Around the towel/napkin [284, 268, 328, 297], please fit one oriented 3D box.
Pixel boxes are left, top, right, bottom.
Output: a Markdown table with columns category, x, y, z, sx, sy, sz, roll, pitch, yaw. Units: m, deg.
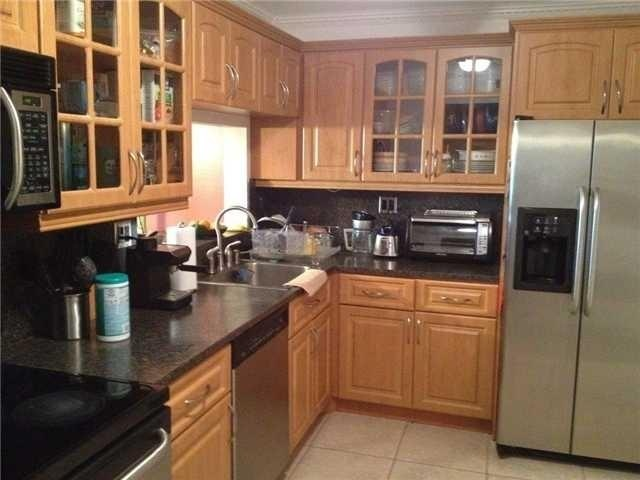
| category | x | y | z | sx | sy | sz | roll | pitch | yaw |
| --- | --- | --- | --- | --- | --- | --- | --- | --- | --- |
| towel/napkin | -0.067 | 0.225 | 2.901 | 0.128 | 0.055 | 0.230 | 0 | 12 | 25 |

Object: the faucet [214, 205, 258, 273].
| category | x | y | z | sx | sy | sz | roll | pitch | yaw |
| --- | --- | --- | --- | --- | --- | --- | --- | --- | --- |
| faucet | -0.498 | -0.017 | 3.114 | 0.268 | 0.384 | 0.285 | -5 | 22 | -10 |

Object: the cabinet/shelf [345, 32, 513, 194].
| category | x | y | z | sx | sy | sz | roll | pitch | yaw |
| --- | --- | --- | --- | --- | --- | --- | --- | --- | --- |
| cabinet/shelf | 0.754 | -0.866 | 3.398 | 1.162 | 1.081 | 0.410 | 1 | 2 | 16 |

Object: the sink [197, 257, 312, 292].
| category | x | y | z | sx | sy | sz | roll | pitch | yaw |
| --- | --- | --- | --- | --- | --- | --- | --- | --- | --- |
| sink | -0.333 | 0.210 | 3.208 | 0.330 | 0.128 | 0.268 | 3 | 10 | 26 |

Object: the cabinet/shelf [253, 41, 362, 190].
| category | x | y | z | sx | sy | sz | roll | pitch | yaw |
| --- | --- | --- | --- | --- | --- | --- | --- | --- | --- |
| cabinet/shelf | -0.096 | -0.880 | 3.681 | 0.758 | 0.878 | 0.259 | 0 | 26 | 1 |

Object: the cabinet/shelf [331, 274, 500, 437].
| category | x | y | z | sx | sy | sz | roll | pitch | yaw |
| --- | --- | --- | --- | --- | --- | --- | --- | --- | --- |
| cabinet/shelf | 0.643 | 0.706 | 3.261 | 1.006 | 0.841 | 0.395 | 1 | 2 | 17 |

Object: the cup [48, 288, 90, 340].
| category | x | y | z | sx | sy | sz | roll | pitch | yaw |
| --- | --- | --- | --- | --- | --- | --- | --- | --- | --- |
| cup | -0.969 | 0.297 | 2.053 | 0.161 | 0.178 | 0.150 | -4 | -10 | -1 |

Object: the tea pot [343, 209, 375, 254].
| category | x | y | z | sx | sy | sz | roll | pitch | yaw |
| --- | --- | --- | --- | --- | --- | --- | --- | --- | --- |
| tea pot | 0.295 | -0.072 | 3.806 | 0.207 | 0.305 | 0.295 | 0 | 8 | 6 |

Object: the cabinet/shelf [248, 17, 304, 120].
| category | x | y | z | sx | sy | sz | roll | pitch | yaw |
| --- | --- | --- | --- | --- | --- | --- | --- | --- | --- |
| cabinet/shelf | -0.321 | -1.044 | 3.368 | 0.216 | 0.464 | 0.542 | 3 | 7 | 26 |

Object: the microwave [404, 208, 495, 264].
| category | x | y | z | sx | sy | sz | roll | pitch | yaw |
| --- | --- | --- | --- | --- | --- | --- | --- | --- | --- |
| microwave | 0.838 | -0.028 | 3.368 | 0.463 | 0.294 | 0.328 | 2 | 1 | 16 |

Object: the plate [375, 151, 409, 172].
| category | x | y | z | sx | sy | sz | roll | pitch | yaw |
| --- | --- | --- | --- | --- | --- | --- | --- | --- | --- |
| plate | 0.502 | -0.547 | 3.520 | 0.152 | 0.076 | 0.161 | 0 | -1 | 0 |

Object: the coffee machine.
| category | x | y | z | sx | sy | sz | roll | pitch | yaw |
| --- | --- | --- | --- | --- | --- | --- | --- | --- | --- |
| coffee machine | -0.753 | 0.144 | 2.388 | 0.270 | 0.317 | 0.222 | 5 | 8 | 12 |
